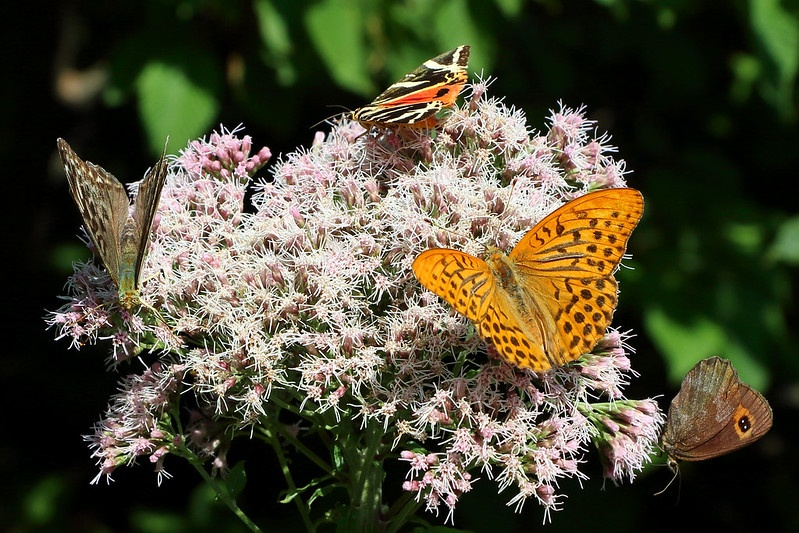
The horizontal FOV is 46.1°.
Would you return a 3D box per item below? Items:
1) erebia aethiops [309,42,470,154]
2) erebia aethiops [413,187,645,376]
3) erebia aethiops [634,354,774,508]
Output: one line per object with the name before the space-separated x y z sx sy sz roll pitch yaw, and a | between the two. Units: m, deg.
erebia aethiops | 0.093 -1.057 6.109 0.748 1.267 0.632 -3 104 10
erebia aethiops | 0.716 0.190 5.471 1.504 0.388 0.921 -14 65 -17
erebia aethiops | 1.858 1.058 5.919 0.962 0.289 0.669 -44 101 3
